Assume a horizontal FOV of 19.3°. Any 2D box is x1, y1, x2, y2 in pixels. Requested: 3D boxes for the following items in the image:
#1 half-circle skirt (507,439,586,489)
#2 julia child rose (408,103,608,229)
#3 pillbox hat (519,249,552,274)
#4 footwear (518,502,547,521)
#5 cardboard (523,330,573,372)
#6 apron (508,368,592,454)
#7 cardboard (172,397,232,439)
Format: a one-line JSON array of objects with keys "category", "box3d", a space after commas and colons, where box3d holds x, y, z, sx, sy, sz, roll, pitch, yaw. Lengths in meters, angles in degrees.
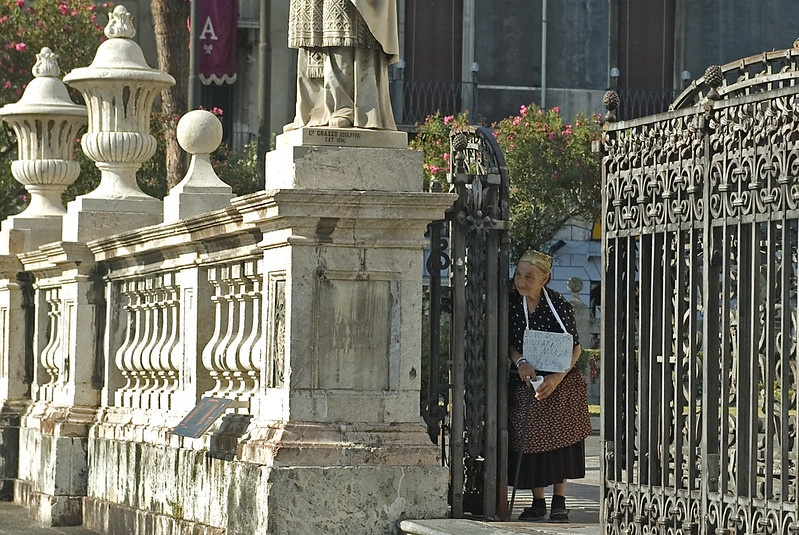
[{"category": "half-circle skirt", "box3d": [1.411, 1.858, 21.640, 0.657, 0.459, 0.437, 0, -5, -6]}, {"category": "julia child rose", "box3d": [2.344, -1.970, 43.459, 2.785, 1.527, 2.733, 0, 0, -25]}, {"category": "pillbox hat", "box3d": [1.270, -0.077, 21.770, 0.241, 0.116, 0.234, 18, 2, -24]}, {"category": "footwear", "box3d": [1.259, 2.277, 21.788, 0.138, 0.088, 0.263, -2, -6, 39]}, {"category": "cardboard", "box3d": [1.374, 0.786, 21.561, 0.413, 0.317, 0.058, 3, 2, 6]}, {"category": "apron", "box3d": [1.366, 1.340, 21.627, 0.810, 0.740, 0.431, -5, -1, -18]}, {"category": "cardboard", "box3d": [-1.776, 1.398, 21.518, 0.620, 0.063, 0.436, -36, 34, -24]}]
